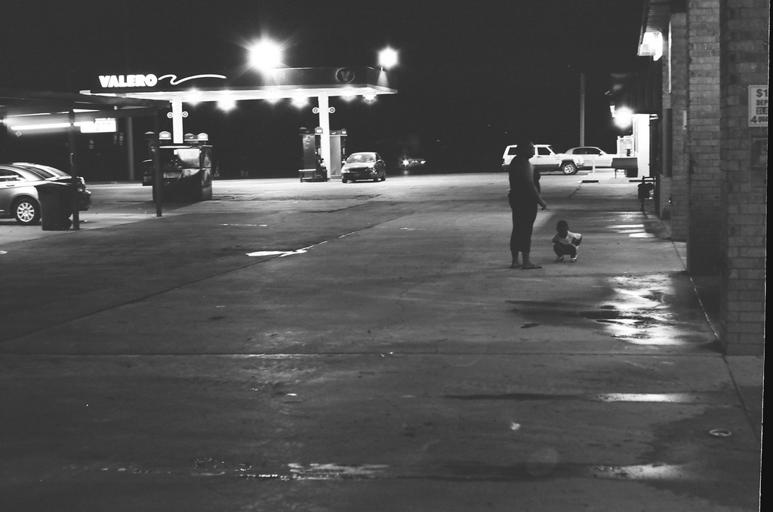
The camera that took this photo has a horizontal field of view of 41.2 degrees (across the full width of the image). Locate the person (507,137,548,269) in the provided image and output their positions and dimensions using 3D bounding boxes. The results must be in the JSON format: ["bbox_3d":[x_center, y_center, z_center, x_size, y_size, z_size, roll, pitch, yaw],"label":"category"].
[{"bbox_3d":[2.493,-0.908,18.542,0.562,2.191,0.844,0,11,6],"label":"person"}]

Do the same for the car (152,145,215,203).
[{"bbox_3d":[-8.024,-3.472,40.056,1.980,2.069,2.418,-4,21,-7],"label":"car"}]

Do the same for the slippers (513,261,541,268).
[{"bbox_3d":[2.523,0.157,18.601,0.539,0.205,0.173,-3,-1,7],"label":"slippers"}]

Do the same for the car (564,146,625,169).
[{"bbox_3d":[12.307,-5.771,62.026,2.361,1.419,4.636,5,13,26],"label":"car"}]

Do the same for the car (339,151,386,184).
[{"bbox_3d":[-1.259,-4.581,54.408,1.937,1.493,2.622,1,12,9],"label":"car"}]

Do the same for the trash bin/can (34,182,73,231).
[{"bbox_3d":[-8.967,-1.328,27.761,0.861,1.125,0.964,-5,12,-17],"label":"trash bin/can"}]

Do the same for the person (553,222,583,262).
[{"bbox_3d":[3.395,-0.316,19.429,0.461,0.815,0.910,0,12,9],"label":"person"}]
